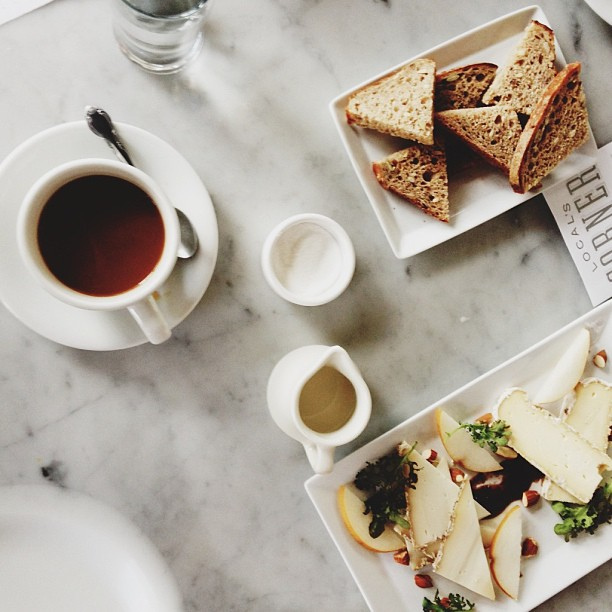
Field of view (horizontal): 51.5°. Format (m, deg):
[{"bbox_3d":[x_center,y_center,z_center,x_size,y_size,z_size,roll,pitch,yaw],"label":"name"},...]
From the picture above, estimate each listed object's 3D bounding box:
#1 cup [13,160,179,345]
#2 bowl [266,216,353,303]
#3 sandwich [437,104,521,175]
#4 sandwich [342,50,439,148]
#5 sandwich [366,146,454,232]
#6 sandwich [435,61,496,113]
[{"bbox_3d":[-0.298,-0.079,0.930,0.216,0.116,0.246,7,78,-1],"label":"cup"},{"bbox_3d":[0.011,-0.084,1.118,0.177,0.060,0.140,-3,97,-8],"label":"bowl"},{"bbox_3d":[0.310,-0.310,1.163,0.156,0.079,0.128,6,79,-1],"label":"sandwich"},{"bbox_3d":[0.185,-0.339,1.144,0.039,0.136,0.170,21,65,43],"label":"sandwich"},{"bbox_3d":[0.210,-0.204,1.130,0.159,0.032,0.134,-9,96,-7],"label":"sandwich"},{"bbox_3d":[0.289,-0.392,1.166,0.120,0.026,0.095,-5,108,-10],"label":"sandwich"}]
